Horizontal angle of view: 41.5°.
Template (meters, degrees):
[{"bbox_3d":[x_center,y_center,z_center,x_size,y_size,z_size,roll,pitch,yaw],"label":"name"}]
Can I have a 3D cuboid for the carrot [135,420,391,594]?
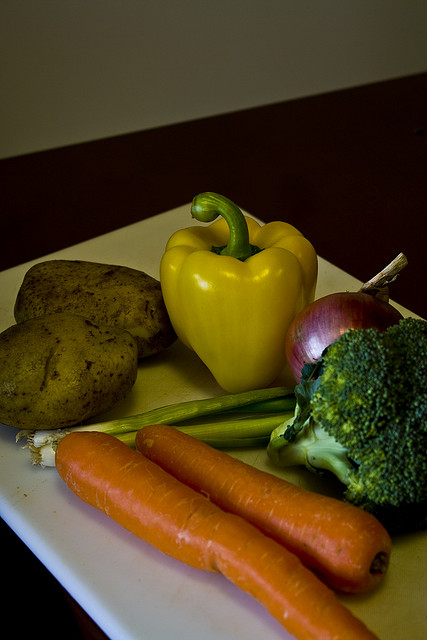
[{"bbox_3d":[0.000,0.240,0.852,0.491,0.135,0.126,24,98,34],"label":"carrot"}]
